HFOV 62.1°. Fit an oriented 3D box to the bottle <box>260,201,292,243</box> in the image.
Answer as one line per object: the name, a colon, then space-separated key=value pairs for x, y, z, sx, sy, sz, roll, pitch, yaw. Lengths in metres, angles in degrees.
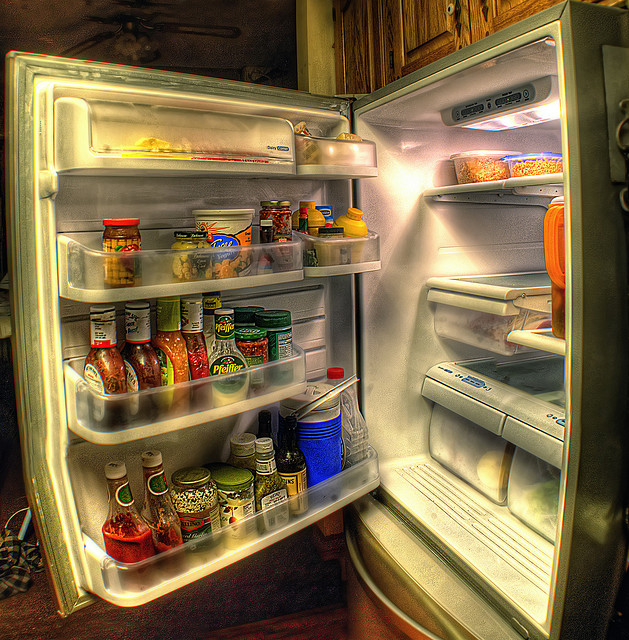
bottle: x=-0.092 y=-0.226 z=1.210 sx=0.072 sy=0.096 sz=0.074 roll=-1 pitch=12 yaw=0

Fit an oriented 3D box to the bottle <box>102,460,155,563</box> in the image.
bottle: x=-0.383 y=0.361 z=1.042 sx=0.083 sy=0.175 sz=0.180 roll=-1 pitch=12 yaw=-41

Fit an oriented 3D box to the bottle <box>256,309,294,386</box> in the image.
bottle: x=-0.093 y=0.073 z=1.200 sx=0.103 sy=0.171 sz=0.101 roll=-3 pitch=0 yaw=0

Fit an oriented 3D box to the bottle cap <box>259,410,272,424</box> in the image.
bottle cap: x=-0.121 y=0.230 z=1.249 sx=0.027 sy=0.024 sz=0.027 roll=4 pitch=10 yaw=16

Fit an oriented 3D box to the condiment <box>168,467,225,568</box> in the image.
condiment: x=-0.249 y=0.422 z=1.121 sx=0.111 sy=0.205 sz=0.109 roll=3 pitch=16 yaw=28

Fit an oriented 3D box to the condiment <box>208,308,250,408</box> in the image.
condiment: x=-0.172 y=0.073 z=1.059 sx=0.087 sy=0.176 sz=0.119 roll=5 pitch=10 yaw=-11

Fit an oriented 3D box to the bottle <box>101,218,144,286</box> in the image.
bottle: x=-0.354 y=-0.118 z=0.942 sx=0.078 sy=0.134 sz=0.077 roll=-1 pitch=5 yaw=0

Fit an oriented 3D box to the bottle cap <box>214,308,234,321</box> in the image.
bottle cap: x=-0.188 y=-0.011 z=1.083 sx=0.027 sy=0.019 sz=0.027 roll=-2 pitch=7 yaw=-20

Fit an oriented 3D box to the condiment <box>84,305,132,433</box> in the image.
condiment: x=-0.389 y=0.076 z=0.982 sx=0.079 sy=0.197 sz=0.235 roll=3 pitch=10 yaw=-24

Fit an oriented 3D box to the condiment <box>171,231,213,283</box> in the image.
condiment: x=-0.233 y=-0.116 z=0.989 sx=0.087 sy=0.108 sz=0.100 roll=-2 pitch=4 yaw=-25

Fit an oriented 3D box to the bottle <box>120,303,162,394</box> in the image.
bottle: x=-0.334 y=0.048 z=1.002 sx=0.068 sy=0.157 sz=0.090 roll=-2 pitch=13 yaw=-43

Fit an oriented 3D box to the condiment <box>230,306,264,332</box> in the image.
condiment: x=-0.150 y=0.000 z=1.179 sx=0.050 sy=0.030 sz=0.049 roll=2 pitch=5 yaw=30

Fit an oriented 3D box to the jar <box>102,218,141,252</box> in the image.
jar: x=-0.350 y=-0.153 z=0.944 sx=0.067 sy=0.068 sz=0.066 roll=1 pitch=5 yaw=0

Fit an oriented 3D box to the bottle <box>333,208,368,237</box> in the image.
bottle: x=0.091 y=-0.238 z=1.294 sx=0.083 sy=0.048 sz=0.081 roll=2 pitch=13 yaw=0

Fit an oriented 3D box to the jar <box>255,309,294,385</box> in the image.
jar: x=-0.097 y=0.063 z=1.199 sx=0.094 sy=0.158 sz=0.089 roll=-3 pitch=4 yaw=0

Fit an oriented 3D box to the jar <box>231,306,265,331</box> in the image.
jar: x=-0.146 y=-0.002 z=1.177 sx=0.051 sy=0.030 sz=0.050 roll=-1 pitch=3 yaw=0

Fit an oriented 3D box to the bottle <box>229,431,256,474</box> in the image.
bottle: x=-0.168 y=0.307 z=1.208 sx=0.075 sy=0.115 sz=0.072 roll=0 pitch=-4 yaw=0

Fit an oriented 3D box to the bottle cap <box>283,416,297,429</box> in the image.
bottle cap: x=-0.059 y=0.239 z=1.226 sx=0.026 sy=0.023 sz=0.026 roll=0 pitch=8 yaw=-4

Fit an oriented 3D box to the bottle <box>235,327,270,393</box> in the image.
bottle: x=-0.144 y=0.086 z=1.167 sx=0.087 sy=0.141 sz=0.086 roll=-2 pitch=14 yaw=1

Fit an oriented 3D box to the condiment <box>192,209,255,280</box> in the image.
condiment: x=-0.197 y=-0.174 z=1.130 sx=0.134 sy=0.168 sz=0.128 roll=-5 pitch=31 yaw=-18

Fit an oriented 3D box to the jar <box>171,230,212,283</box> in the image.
jar: x=-0.233 y=-0.116 z=0.985 sx=0.085 sy=0.105 sz=0.100 roll=0 pitch=1 yaw=-8

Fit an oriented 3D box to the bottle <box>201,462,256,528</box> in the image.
bottle: x=-0.184 y=0.403 z=1.142 sx=0.119 sy=0.109 sz=0.068 roll=-5 pitch=-5 yaw=12

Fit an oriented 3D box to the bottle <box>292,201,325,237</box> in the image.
bottle: x=-0.009 y=-0.249 z=1.325 sx=0.089 sy=0.089 sz=0.088 roll=-2 pitch=2 yaw=-15

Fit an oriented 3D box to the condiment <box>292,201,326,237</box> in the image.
condiment: x=-0.009 y=-0.248 z=1.330 sx=0.090 sy=0.093 sz=0.089 roll=-3 pitch=4 yaw=-34

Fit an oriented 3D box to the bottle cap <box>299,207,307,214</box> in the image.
bottle cap: x=-0.030 y=-0.268 z=1.277 sx=0.017 sy=0.015 sz=0.016 roll=1 pitch=7 yaw=7

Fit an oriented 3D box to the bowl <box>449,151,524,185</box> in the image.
bowl: x=0.453 y=-0.381 z=1.384 sx=0.112 sy=0.040 sz=0.113 roll=-3 pitch=2 yaw=0

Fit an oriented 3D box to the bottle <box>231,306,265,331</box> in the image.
bottle: x=-0.146 y=-0.006 z=1.182 sx=0.053 sy=0.031 sz=0.052 roll=-1 pitch=4 yaw=0

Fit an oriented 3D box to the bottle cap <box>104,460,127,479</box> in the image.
bottle cap: x=-0.388 y=0.283 z=1.008 sx=0.033 sy=0.019 sz=0.033 roll=-2 pitch=7 yaw=-43

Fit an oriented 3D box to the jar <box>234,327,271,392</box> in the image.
jar: x=-0.136 y=0.088 z=1.151 sx=0.076 sy=0.127 sz=0.078 roll=0 pitch=-4 yaw=0

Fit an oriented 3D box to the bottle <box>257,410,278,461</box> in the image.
bottle: x=-0.121 y=0.289 z=1.241 sx=0.052 sy=0.132 sz=0.052 roll=-1 pitch=-24 yaw=0

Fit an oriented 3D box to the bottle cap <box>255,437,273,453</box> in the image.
bottle cap: x=-0.116 y=0.280 z=1.174 sx=0.031 sy=0.018 sz=0.031 roll=0 pitch=1 yaw=-6

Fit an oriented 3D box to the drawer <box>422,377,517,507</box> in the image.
drawer: x=0.435 y=0.339 z=1.450 sx=0.161 sy=0.234 sz=0.291 roll=2 pitch=14 yaw=-28

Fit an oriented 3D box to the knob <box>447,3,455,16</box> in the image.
knob: x=0.330 y=-0.757 z=1.273 sx=0.021 sy=0.020 sz=0.018 roll=1 pitch=0 yaw=-25

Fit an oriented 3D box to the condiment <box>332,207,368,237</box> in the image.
condiment: x=0.080 y=-0.239 z=1.301 sx=0.081 sy=0.047 sz=0.081 roll=-9 pitch=17 yaw=-42

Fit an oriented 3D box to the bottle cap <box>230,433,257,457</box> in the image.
bottle cap: x=-0.168 y=0.287 z=1.211 sx=0.048 sy=0.028 sz=0.047 roll=0 pitch=2 yaw=-3
